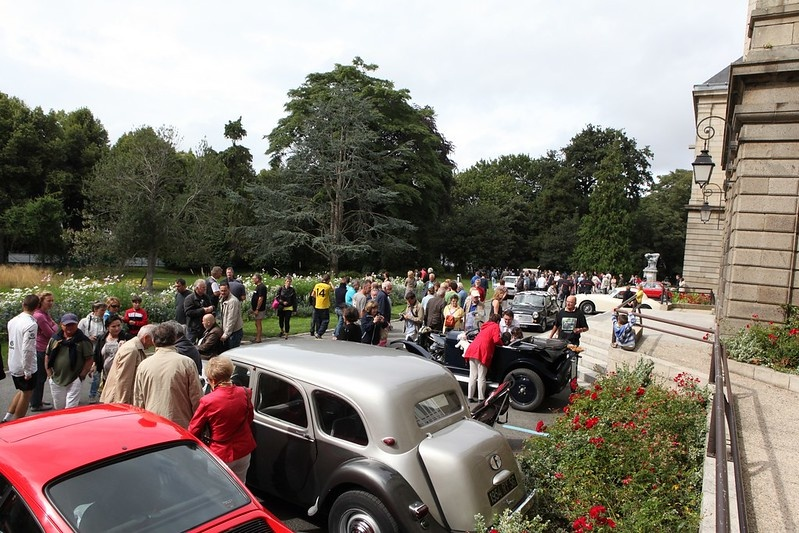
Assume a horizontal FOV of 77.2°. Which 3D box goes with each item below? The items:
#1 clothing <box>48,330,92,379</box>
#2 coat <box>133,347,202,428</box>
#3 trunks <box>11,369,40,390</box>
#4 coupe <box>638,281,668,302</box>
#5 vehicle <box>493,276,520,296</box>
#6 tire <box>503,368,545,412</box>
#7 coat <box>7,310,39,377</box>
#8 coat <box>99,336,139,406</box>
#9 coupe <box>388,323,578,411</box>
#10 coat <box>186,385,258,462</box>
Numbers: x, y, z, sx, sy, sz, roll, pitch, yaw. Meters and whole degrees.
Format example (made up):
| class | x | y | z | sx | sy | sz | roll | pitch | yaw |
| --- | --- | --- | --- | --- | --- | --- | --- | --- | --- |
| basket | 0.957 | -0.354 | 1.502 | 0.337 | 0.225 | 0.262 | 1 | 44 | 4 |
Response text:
| class | x | y | z | sx | sy | sz | roll | pitch | yaw |
| --- | --- | --- | --- | --- | --- | --- | --- | --- | --- |
| clothing | -5.945 | 1.584 | 9.042 | 0.852 | 0.938 | 0.476 | 5 | 0 | -3 |
| coat | -3.129 | 1.651 | 6.746 | 1.062 | 1.286 | 0.505 | 1 | -3 | -16 |
| trunks | -6.751 | 2.045 | 8.991 | 0.452 | 0.380 | 0.325 | 4 | 6 | 4 |
| coupe | 15.509 | 1.544 | 30.684 | 1.939 | 0.846 | 1.154 | 2 | 0 | -10 |
| vehicle | 7.544 | 1.260 | 35.087 | 2.052 | 1.235 | 3.734 | -1 | 1 | 22 |
| tire | 2.800 | 2.732 | 11.181 | 0.962 | 0.948 | 0.336 | -8 | -13 | 42 |
| coat | -6.715 | 1.395 | 8.962 | 0.457 | 1.109 | 0.292 | 5 | 1 | 31 |
| coat | -4.241 | 1.615 | 7.912 | 0.600 | 1.031 | 1.045 | 4 | -2 | -21 |
| coupe | 2.106 | 2.154 | 11.764 | 3.464 | 1.144 | 1.856 | 9 | 0 | 25 |
| coat | -2.284 | 2.022 | 6.495 | 0.520 | 0.886 | 0.954 | -6 | -1 | 41 |
